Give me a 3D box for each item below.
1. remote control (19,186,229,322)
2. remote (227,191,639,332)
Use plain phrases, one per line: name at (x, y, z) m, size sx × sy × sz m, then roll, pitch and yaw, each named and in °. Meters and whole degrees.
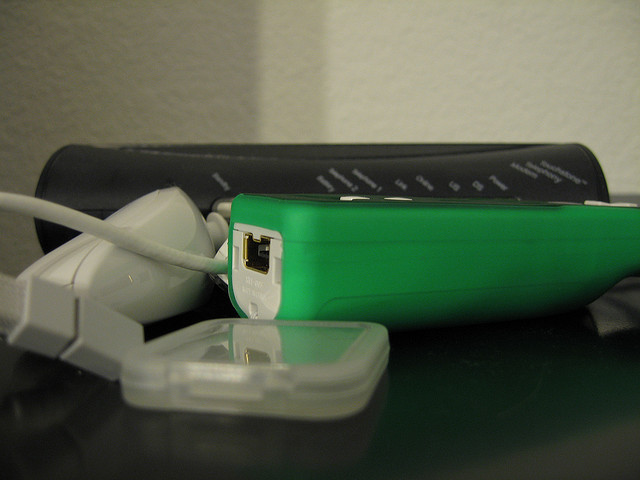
remote control at (-0.166, 0.024, 0.497) m, size 0.090 × 0.183 × 0.071 m, roll 8°, pitch 92°, yaw 18°
remote at (0.101, 0.016, 0.512) m, size 0.289 × 0.123 × 0.071 m, roll 1°, pitch 90°, yaw -21°
